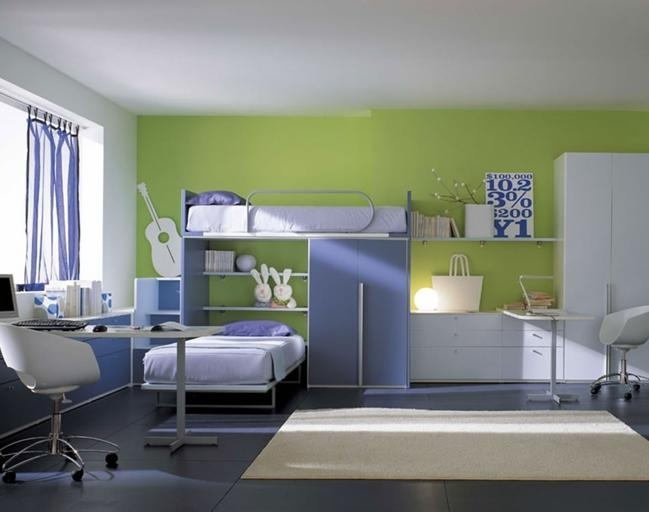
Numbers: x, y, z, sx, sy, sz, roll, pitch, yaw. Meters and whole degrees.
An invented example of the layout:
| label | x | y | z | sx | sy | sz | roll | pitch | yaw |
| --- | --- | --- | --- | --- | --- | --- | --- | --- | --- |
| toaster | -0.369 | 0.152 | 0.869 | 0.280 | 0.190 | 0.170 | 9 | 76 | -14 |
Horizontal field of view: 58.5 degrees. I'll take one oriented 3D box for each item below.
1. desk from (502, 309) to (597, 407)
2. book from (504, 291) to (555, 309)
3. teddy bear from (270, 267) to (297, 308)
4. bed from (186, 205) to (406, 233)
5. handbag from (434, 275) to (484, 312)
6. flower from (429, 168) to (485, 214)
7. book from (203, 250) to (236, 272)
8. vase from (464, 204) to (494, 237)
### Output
| label | x | y | z | sx | sy | sz | roll | pitch | yaw |
| --- | --- | --- | --- | --- | --- | --- | --- | --- | --- |
| desk | 2.417 | 1.023 | 6.477 | 1.037 | 0.980 | 0.935 | 1 | 2 | 1 |
| book | 2.538 | 0.562 | 7.097 | 0.328 | 0.113 | 0.336 | -1 | 1 | -2 |
| teddy bear | -0.533 | 0.411 | 7.388 | 0.339 | 0.464 | 0.270 | 5 | 24 | 27 |
| bed | -0.334 | -0.411 | 6.702 | 1.503 | 0.203 | 0.876 | 1 | -2 | -2 |
| handbag | 1.651 | 0.462 | 7.296 | 0.720 | 0.532 | 0.405 | 0 | -3 | 6 |
| flower | 1.700 | -0.830 | 7.412 | 0.499 | 0.472 | 0.247 | 0 | -20 | 6 |
| book | -1.335 | 0.078 | 7.310 | 0.431 | 0.312 | 0.236 | 1 | 2 | -2 |
| vase | 1.902 | -0.422 | 7.164 | 0.324 | 0.416 | 0.181 | 0 | 4 | 7 |
